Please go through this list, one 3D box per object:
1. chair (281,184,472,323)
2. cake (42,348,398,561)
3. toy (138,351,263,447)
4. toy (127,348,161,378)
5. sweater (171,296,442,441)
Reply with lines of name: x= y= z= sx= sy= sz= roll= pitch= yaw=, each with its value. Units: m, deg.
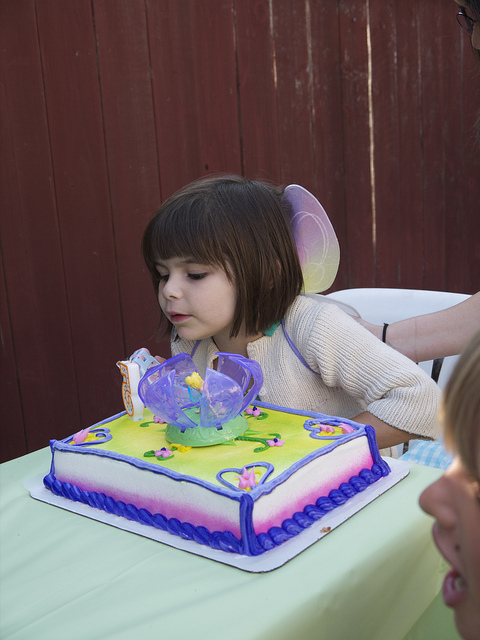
chair: x=0.267 y=-0.091 z=1.150 sx=0.369 sy=0.314 sz=0.269 roll=7 pitch=10 yaw=16
cake: x=-0.059 y=0.097 z=0.686 sx=0.282 sy=0.119 sz=0.256 roll=7 pitch=16 yaw=38
toy: x=-0.049 y=0.098 z=0.753 sx=0.140 sy=0.086 sz=0.143 roll=-1 pitch=9 yaw=44
toy: x=-0.152 y=0.072 z=0.928 sx=0.017 sy=0.051 sz=0.036 roll=-37 pitch=9 yaw=40
sweater: x=0.090 y=0.076 z=0.908 sx=0.120 sy=0.165 sz=0.274 roll=-19 pitch=-14 yaw=21
